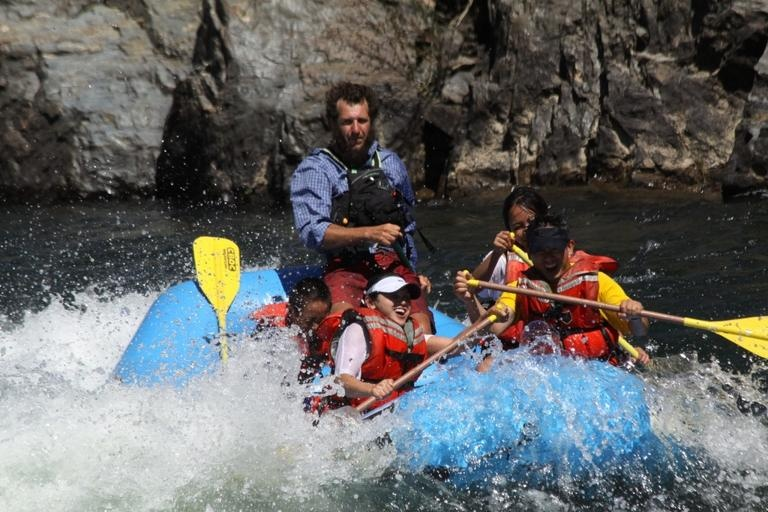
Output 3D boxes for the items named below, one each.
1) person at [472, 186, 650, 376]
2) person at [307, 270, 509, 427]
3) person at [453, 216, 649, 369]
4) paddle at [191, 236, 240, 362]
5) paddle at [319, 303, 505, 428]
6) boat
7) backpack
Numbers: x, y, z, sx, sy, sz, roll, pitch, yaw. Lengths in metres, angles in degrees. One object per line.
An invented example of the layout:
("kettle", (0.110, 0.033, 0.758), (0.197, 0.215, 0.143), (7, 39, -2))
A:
("person", (1.494, 0.652, 7.034), (1.299, 1.960, 0.843), (-2, 20, 27))
("person", (0.170, 0.768, 6.808), (0.752, 0.965, 0.538), (26, -37, -28))
("person", (1.417, 0.350, 7.222), (0.921, 1.351, 0.721), (-13, -24, -4))
("paddle", (-1.424, 0.483, 7.553), (0.443, 0.110, 1.608), (5, 52, -23))
("paddle", (0.198, 0.885, 6.706), (1.475, 0.192, 0.200), (-30, 50, -20))
("boat", (0.213, 1.035, 6.841), (3.139, 1.068, 1.863), (7, 25, 27))
("backpack", (-0.133, -0.417, 7.407), (0.829, 1.124, 0.428), (-9, -1, -16))
